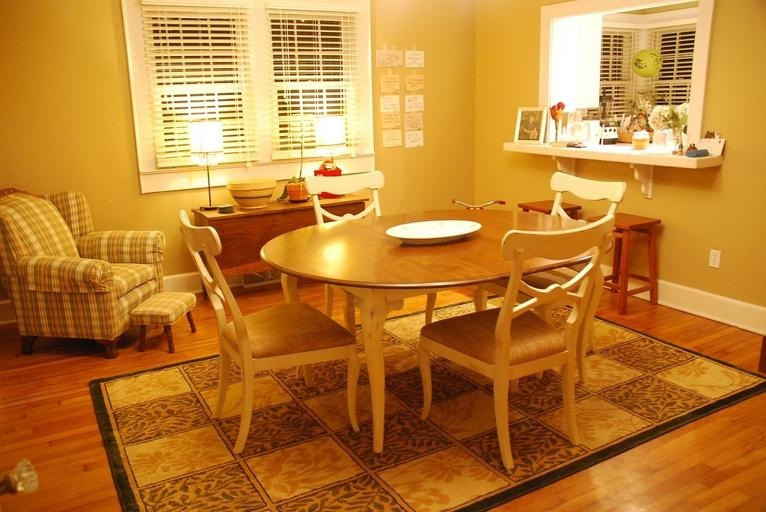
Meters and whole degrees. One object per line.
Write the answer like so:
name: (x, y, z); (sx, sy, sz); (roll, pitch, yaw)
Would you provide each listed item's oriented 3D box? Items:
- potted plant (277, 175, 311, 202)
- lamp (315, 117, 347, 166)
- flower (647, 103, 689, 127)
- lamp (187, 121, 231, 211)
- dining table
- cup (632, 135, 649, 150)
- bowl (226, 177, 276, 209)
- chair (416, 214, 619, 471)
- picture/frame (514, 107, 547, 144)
potted plant: (-0.822, -0.655, 4.984); (0.324, 0.203, 0.277); (6, 11, 25)
lamp: (-0.501, -1.133, 5.133); (0.302, 0.454, 0.367); (-7, 19, -6)
flower: (2.344, -1.159, 4.362); (0.203, 0.104, 0.244); (3, 10, 32)
lamp: (-1.552, -0.831, 4.765); (0.319, 0.764, 0.363); (-10, 20, -14)
dining table: (0.115, 0.184, 3.016); (2.037, 0.899, 1.408); (-12, 19, -35)
cup: (2.145, -0.949, 4.421); (0.124, 0.081, 0.116); (-1, 12, 0)
bowl: (-1.158, -0.563, 4.723); (0.322, 0.156, 0.326); (-2, 9, 0)
chair: (0.711, 0.395, 2.879); (0.859, 1.263, 0.691); (-16, 23, -30)
picture/frame: (1.430, -1.263, 5.115); (0.030, 0.367, 0.386); (-3, 12, -39)
